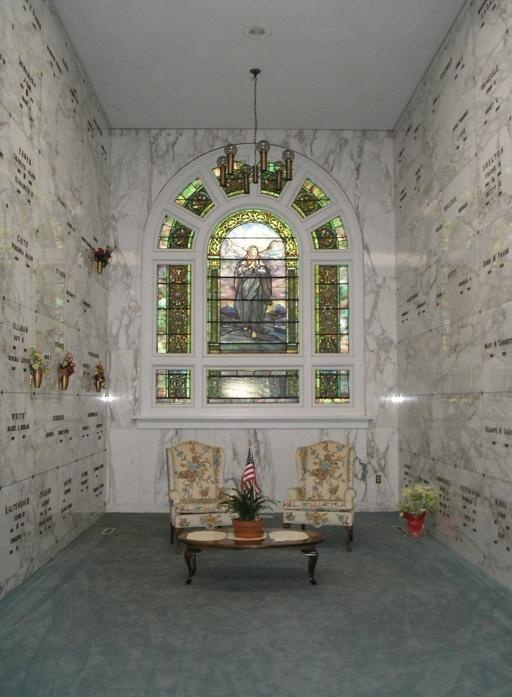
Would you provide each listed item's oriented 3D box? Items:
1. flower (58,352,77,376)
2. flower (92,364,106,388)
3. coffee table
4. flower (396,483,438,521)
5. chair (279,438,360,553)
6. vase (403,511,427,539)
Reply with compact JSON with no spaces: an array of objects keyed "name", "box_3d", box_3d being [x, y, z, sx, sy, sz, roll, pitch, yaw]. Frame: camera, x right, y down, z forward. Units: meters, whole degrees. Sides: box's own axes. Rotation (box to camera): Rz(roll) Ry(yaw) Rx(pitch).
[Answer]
[{"name":"flower","box_3d":[-2.046,0.165,5.466,0.126,0.248,0.185,-5,-8,-24]},{"name":"flower","box_3d":[-2.308,0.444,7.442,0.124,0.419,0.548,3,-13,-11]},{"name":"coffee table","box_3d":[-0.050,1.837,4.433,1.264,0.366,0.710,-1,-13,7]},{"name":"flower","box_3d":[2.001,1.900,6.253,0.452,0.394,0.632,-3,-13,13]},{"name":"chair","box_3d":[0.772,1.722,6.106,0.821,1.189,1.015,-2,-13,10]},{"name":"vase","box_3d":[1.947,2.152,6.191,0.281,0.291,0.299,-3,-5,15]}]
